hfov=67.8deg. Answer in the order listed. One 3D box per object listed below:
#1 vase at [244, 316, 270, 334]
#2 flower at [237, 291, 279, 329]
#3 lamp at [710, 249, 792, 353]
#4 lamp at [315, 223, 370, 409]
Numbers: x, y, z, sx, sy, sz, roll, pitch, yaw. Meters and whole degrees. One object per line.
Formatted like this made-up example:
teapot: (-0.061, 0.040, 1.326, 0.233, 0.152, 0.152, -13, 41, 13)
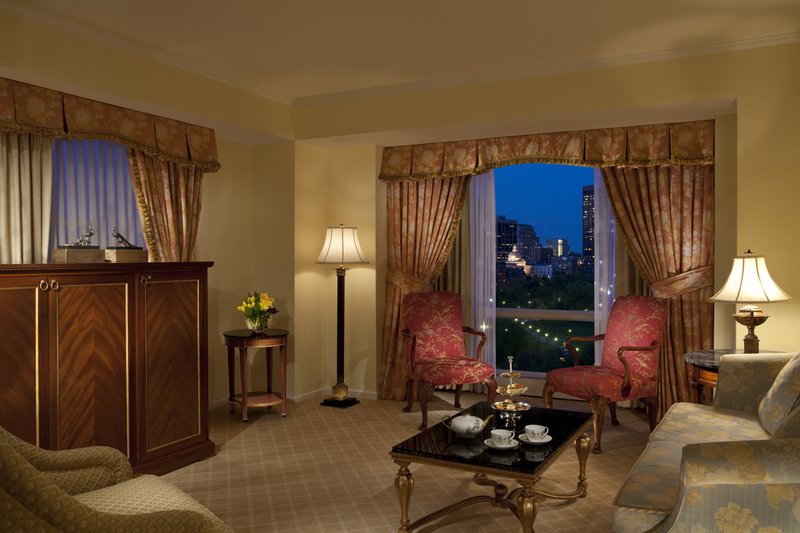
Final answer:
vase: (-1.551, 0.634, 6.488, 0.192, 0.159, 0.207, 3, -7, -30)
flower: (-1.568, 0.532, 6.525, 0.464, 0.417, 0.475, -7, -12, -2)
lamp: (3.051, 0.292, 5.134, 0.553, 0.865, 0.459, -1, 0, -28)
lamp: (-0.674, 0.587, 7.045, 0.558, 1.658, 0.666, -1, 0, -8)
